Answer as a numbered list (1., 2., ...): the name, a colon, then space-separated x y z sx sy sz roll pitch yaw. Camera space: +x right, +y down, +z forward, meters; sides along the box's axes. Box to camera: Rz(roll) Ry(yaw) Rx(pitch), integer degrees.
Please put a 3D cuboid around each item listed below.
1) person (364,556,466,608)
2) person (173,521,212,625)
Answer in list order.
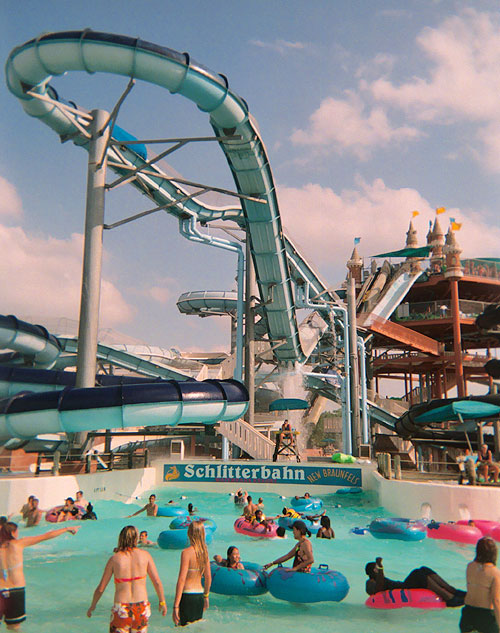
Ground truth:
1. person: 1.810 2.965 6.524 1.012 0.433 0.558 -16 -36 27
2. person: -0.519 2.353 5.340 0.302 0.955 0.606 2 -11 -3
